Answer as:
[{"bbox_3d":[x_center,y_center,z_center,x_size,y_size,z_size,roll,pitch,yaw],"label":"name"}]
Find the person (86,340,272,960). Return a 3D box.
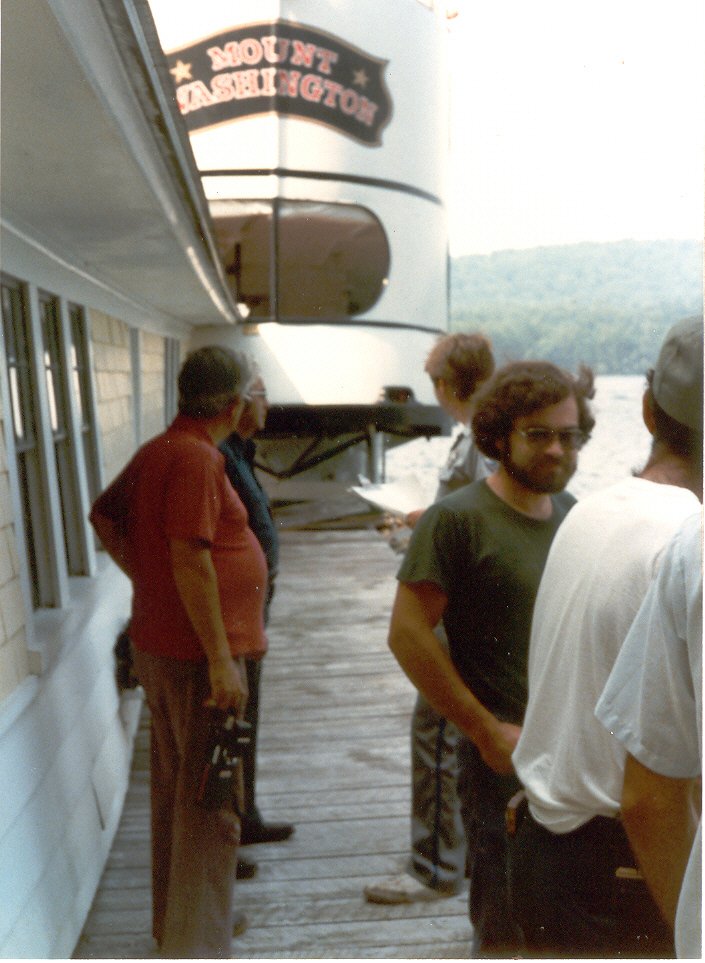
[{"bbox_3d":[-0.422,0.445,2.131,0.397,1.534,0.393,-1,8,-3],"label":"person"}]

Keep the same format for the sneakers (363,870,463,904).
[{"bbox_3d":[0.179,1.164,2.521,0.264,0.110,0.089,7,-16,-7],"label":"sneakers"}]

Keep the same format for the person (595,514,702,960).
[{"bbox_3d":[0.440,0.405,1.277,0.156,0.721,0.230,3,8,24],"label":"person"}]
